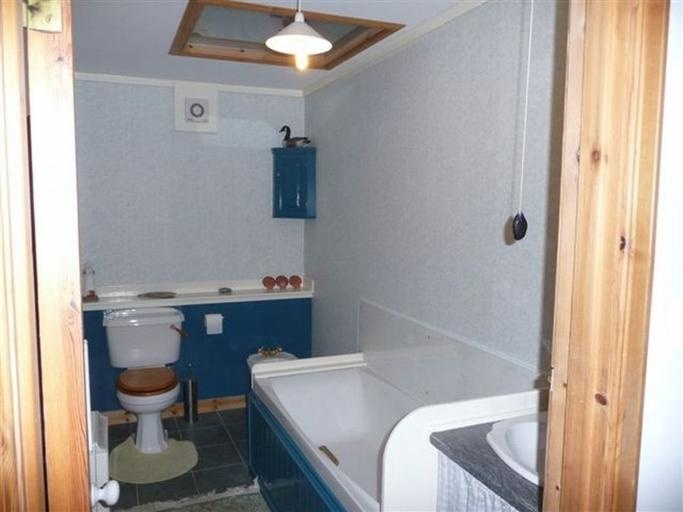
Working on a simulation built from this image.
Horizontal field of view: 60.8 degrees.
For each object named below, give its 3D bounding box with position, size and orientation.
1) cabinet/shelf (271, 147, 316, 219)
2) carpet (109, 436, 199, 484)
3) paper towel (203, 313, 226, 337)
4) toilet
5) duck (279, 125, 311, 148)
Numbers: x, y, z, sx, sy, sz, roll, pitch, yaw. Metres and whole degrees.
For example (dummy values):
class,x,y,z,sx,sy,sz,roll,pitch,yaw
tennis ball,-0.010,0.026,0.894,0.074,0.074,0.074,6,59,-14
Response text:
class,x,y,z,sx,sy,sz,roll,pitch,yaw
cabinet/shelf,-0.399,-0.540,4.371,0.388,0.502,0.172,-1,6,-15
carpet,-1.125,1.208,3.505,0.500,0.091,0.636,-10,10,-20
paper towel,-0.896,0.462,4.092,0.167,0.148,0.133,-1,17,-17
toilet,-1.208,0.761,3.755,0.492,0.840,0.646,-11,11,-20
duck,-0.356,-0.905,4.383,0.231,0.174,0.207,-7,10,-1
